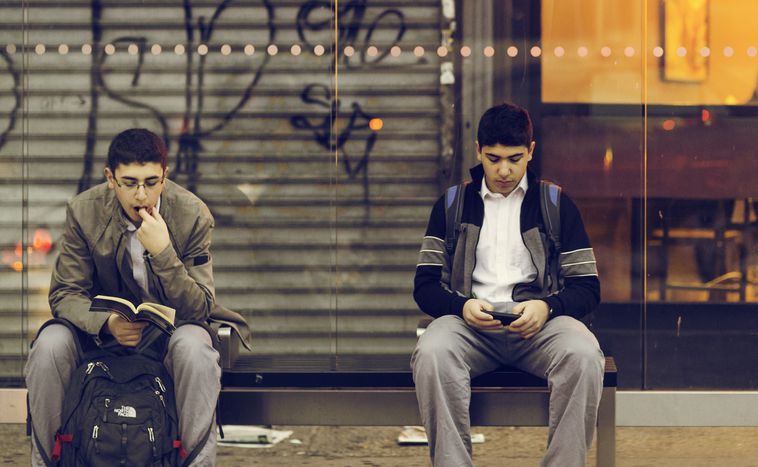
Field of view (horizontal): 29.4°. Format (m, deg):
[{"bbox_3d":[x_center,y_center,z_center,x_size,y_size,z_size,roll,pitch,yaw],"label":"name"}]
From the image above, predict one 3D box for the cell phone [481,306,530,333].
[{"bbox_3d":[0.842,0.591,9.888,0.290,0.131,0.177,-2,1,2],"label":"cell phone"}]
